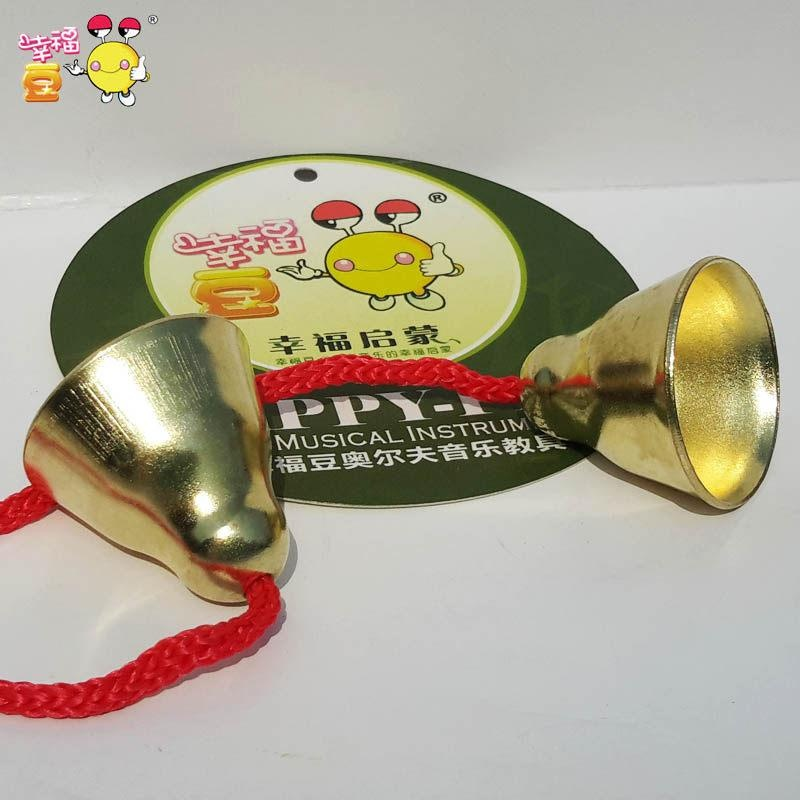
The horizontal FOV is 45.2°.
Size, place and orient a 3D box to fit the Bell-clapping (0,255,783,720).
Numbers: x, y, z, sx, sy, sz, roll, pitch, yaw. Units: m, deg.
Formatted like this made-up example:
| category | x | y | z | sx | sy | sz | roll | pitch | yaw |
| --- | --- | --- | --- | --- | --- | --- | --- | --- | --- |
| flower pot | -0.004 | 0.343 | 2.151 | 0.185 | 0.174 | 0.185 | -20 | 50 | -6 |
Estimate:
| category | x | y | z | sx | sy | sz | roll | pitch | yaw |
| --- | --- | --- | --- | --- | --- | --- | --- | --- | --- |
| Bell-clapping | -0.029 | 0.045 | 0.943 | 0.870 | 0.182 | 0.327 | -2 | 39 | 2 |
